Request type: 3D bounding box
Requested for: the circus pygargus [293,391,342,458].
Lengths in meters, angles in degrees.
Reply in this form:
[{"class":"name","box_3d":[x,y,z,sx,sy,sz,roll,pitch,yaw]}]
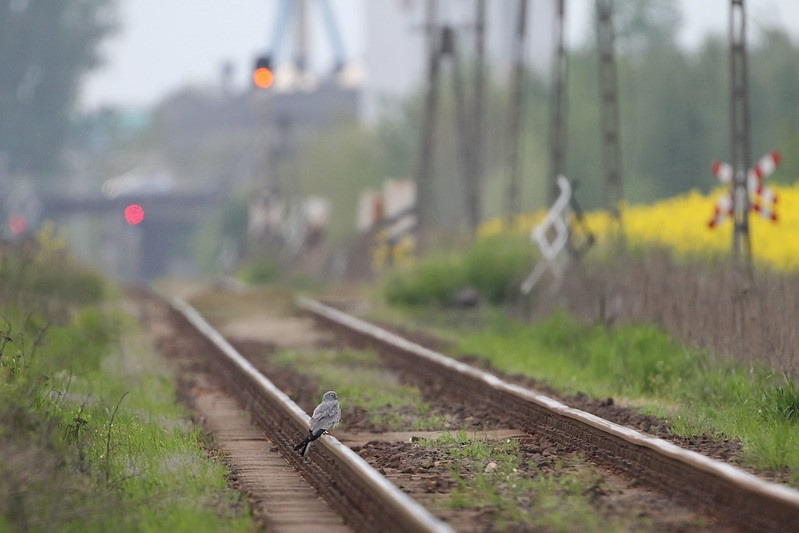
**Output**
[{"class":"circus pygargus","box_3d":[-1.041,1.967,17.752,0.602,0.869,0.313,-7,13,-35]}]
